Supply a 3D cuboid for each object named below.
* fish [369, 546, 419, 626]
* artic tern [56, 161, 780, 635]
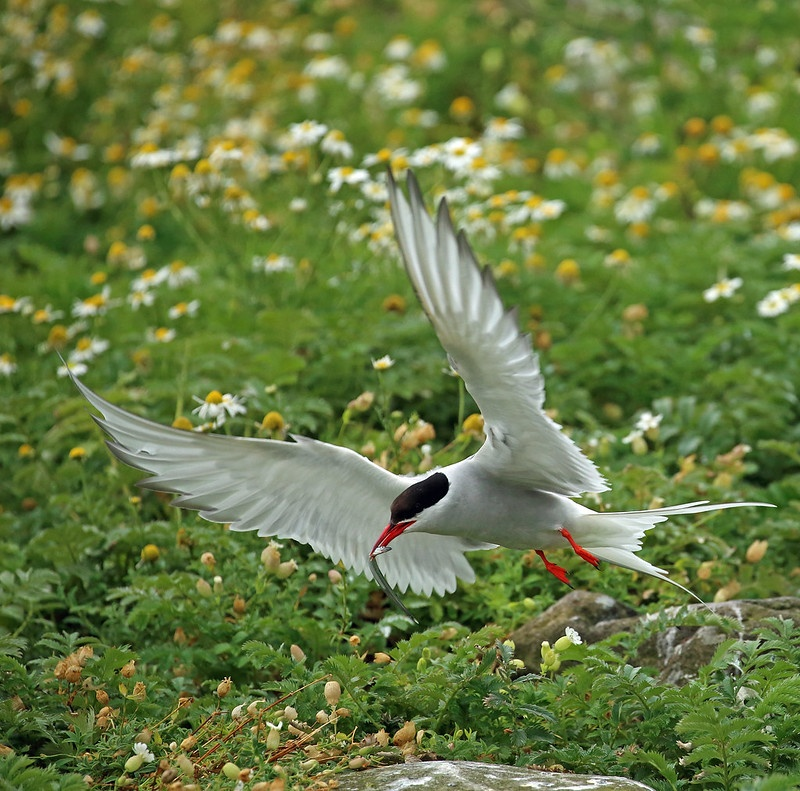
[{"bbox_3d":[-0.041,0.858,5.904,0.053,0.451,0.182,-37,16,19],"label":"fish"},{"bbox_3d":[0.228,-0.008,6.056,2.540,1.147,2.423,-30,-30,26],"label":"artic tern"}]
